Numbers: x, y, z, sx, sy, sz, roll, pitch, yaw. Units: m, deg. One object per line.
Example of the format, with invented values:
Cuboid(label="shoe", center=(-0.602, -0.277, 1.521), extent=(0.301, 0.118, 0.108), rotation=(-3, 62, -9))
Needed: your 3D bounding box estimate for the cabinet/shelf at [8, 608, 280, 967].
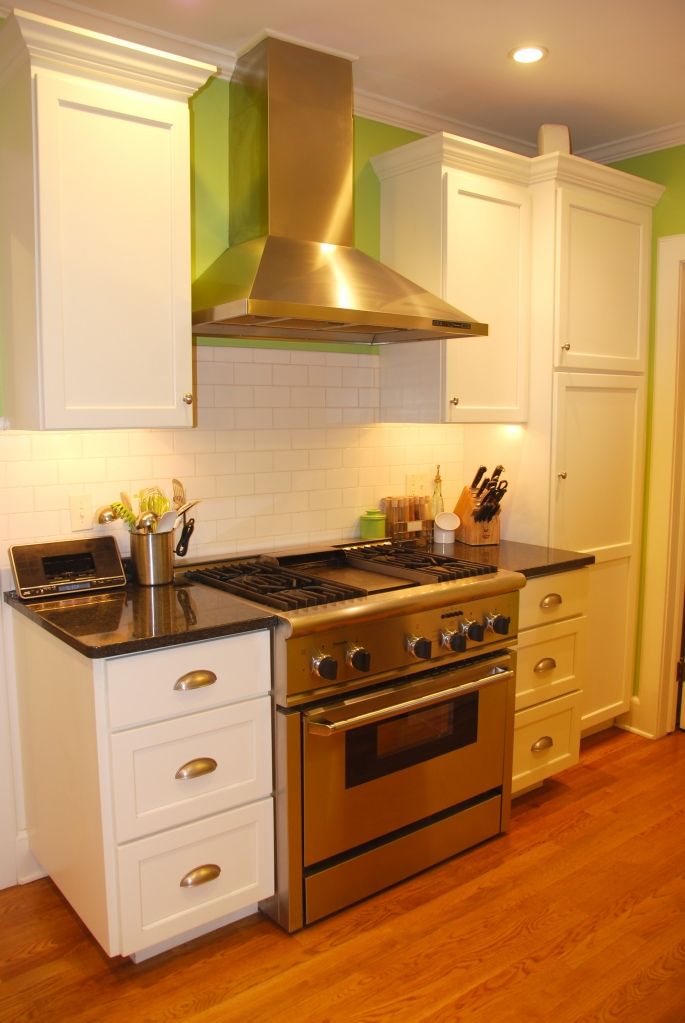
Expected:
Cuboid(label="cabinet/shelf", center=(-0.527, 0.651, 2.138), extent=(0.660, 0.793, 0.554), rotation=(6, 10, 41))

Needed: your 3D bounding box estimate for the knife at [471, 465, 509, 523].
Cuboid(label="knife", center=(0.572, -0.060, 3.103), extent=(0.099, 0.235, 0.235), rotation=(14, 30, 23))

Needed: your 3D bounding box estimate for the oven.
Cuboid(label="oven", center=(0.058, 0.636, 2.453), extent=(0.881, 0.822, 0.625), rotation=(-5, 8, -34))

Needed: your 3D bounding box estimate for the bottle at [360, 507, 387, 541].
Cuboid(label="bottle", center=(0.113, 0.054, 3.074), extent=(0.100, 0.107, 0.101), rotation=(3, 5, 33))

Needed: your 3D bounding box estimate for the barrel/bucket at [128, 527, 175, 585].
Cuboid(label="barrel/bucket", center=(-0.554, 0.132, 2.354), extent=(0.117, 0.162, 0.102), rotation=(-2, 6, -17))

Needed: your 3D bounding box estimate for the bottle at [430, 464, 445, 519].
Cuboid(label="bottle", center=(0.395, -0.088, 3.329), extent=(0.059, 0.203, 0.161), rotation=(1, 6, 7))

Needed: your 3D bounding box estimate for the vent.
Cuboid(label="vent", center=(-0.105, -0.962, 2.493), extent=(0.776, 0.864, 0.917), rotation=(6, 11, 44))
